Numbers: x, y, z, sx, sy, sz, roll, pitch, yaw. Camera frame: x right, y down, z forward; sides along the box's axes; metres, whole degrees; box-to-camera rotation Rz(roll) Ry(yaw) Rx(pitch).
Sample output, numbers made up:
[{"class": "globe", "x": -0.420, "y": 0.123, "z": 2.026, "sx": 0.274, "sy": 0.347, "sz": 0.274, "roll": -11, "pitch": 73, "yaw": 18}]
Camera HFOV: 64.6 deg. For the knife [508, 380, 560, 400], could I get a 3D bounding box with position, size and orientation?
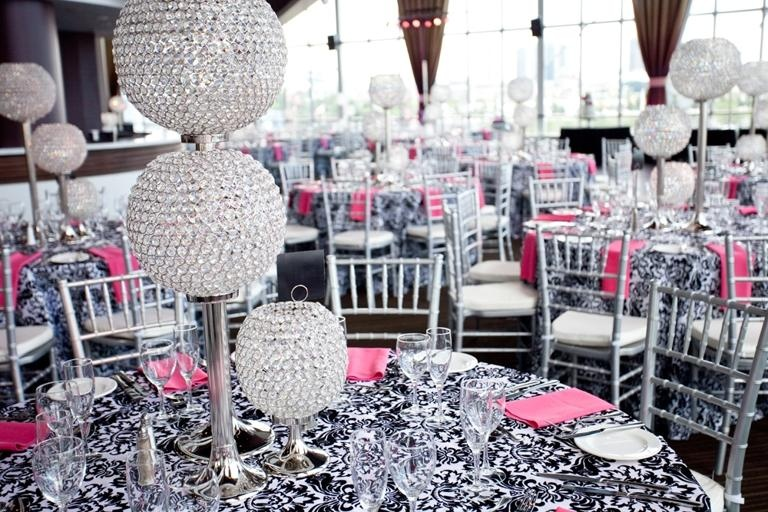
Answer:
[{"class": "knife", "x": 0.510, "y": 0.458, "z": 2.024, "sx": 0.246, "sy": 0.014, "sz": 0.065, "roll": -8, "pitch": 19, "yaw": -19}]
